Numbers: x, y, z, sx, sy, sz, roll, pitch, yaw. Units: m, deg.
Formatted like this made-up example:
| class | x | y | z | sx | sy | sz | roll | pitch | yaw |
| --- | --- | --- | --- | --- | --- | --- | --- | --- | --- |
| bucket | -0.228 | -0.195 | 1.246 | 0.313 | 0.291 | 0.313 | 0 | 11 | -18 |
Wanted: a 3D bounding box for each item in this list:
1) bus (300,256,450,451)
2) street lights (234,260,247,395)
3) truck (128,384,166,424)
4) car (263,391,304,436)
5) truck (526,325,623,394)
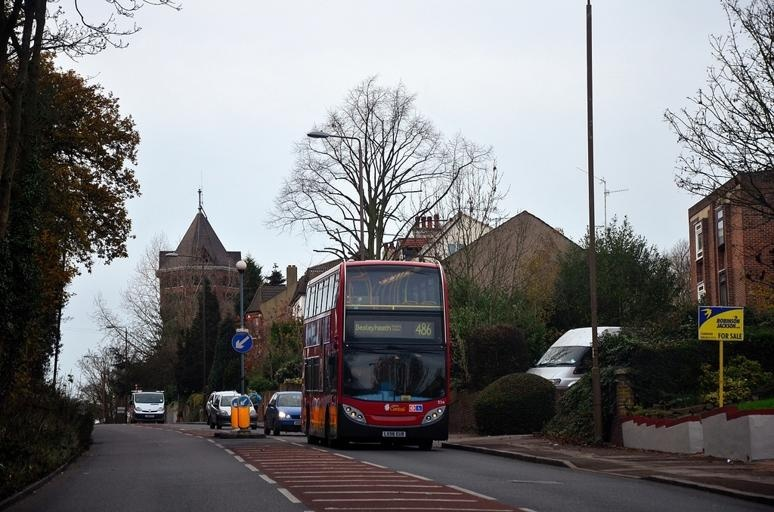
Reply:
| class | x | y | z | sx | sy | sz | roll | pitch | yaw |
| --- | --- | --- | --- | --- | --- | --- | --- | --- | --- |
| bus | -0.768 | 3.328 | 31.267 | 3.365 | 6.219 | 5.934 | 9 | -15 | -41 |
| street lights | -6.828 | 3.470 | 42.701 | 0.628 | 7.074 | 0.696 | 10 | -31 | -24 |
| truck | -20.278 | 12.877 | 77.021 | 2.449 | 2.711 | 3.595 | 5 | -13 | -24 |
| car | -4.666 | 7.398 | 42.587 | 1.630 | 1.904 | 3.945 | 2 | -8 | -18 |
| truck | 8.670 | 4.906 | 39.749 | 5.563 | 3.218 | 2.673 | 5 | -4 | -40 |
